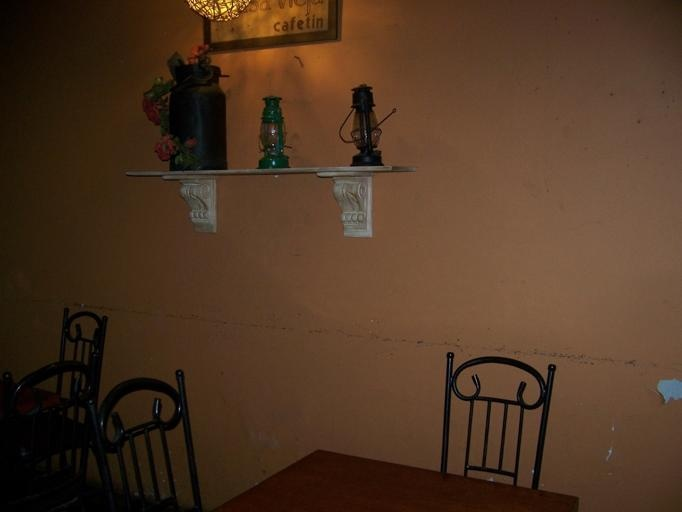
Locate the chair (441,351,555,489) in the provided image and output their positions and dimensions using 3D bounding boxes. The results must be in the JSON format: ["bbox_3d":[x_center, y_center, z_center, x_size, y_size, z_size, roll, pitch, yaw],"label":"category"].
[{"bbox_3d":[0.693,0.697,3.201,0.390,0.869,0.474,2,-11,19],"label":"chair"}]
